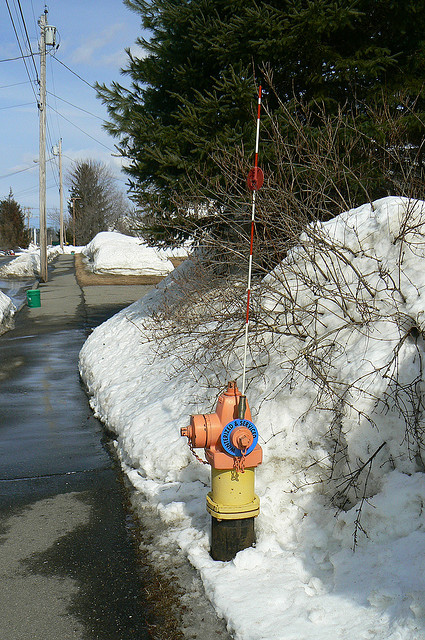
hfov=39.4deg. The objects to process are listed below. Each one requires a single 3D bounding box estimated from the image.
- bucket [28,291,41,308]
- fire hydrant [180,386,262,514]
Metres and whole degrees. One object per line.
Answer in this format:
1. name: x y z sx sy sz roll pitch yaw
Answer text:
1. bucket: -6.339 -0.750 20.916 0.440 0.631 0.421 -4 19 1
2. fire hydrant: 0.079 0.864 3.826 0.389 0.809 0.396 -10 20 -15
